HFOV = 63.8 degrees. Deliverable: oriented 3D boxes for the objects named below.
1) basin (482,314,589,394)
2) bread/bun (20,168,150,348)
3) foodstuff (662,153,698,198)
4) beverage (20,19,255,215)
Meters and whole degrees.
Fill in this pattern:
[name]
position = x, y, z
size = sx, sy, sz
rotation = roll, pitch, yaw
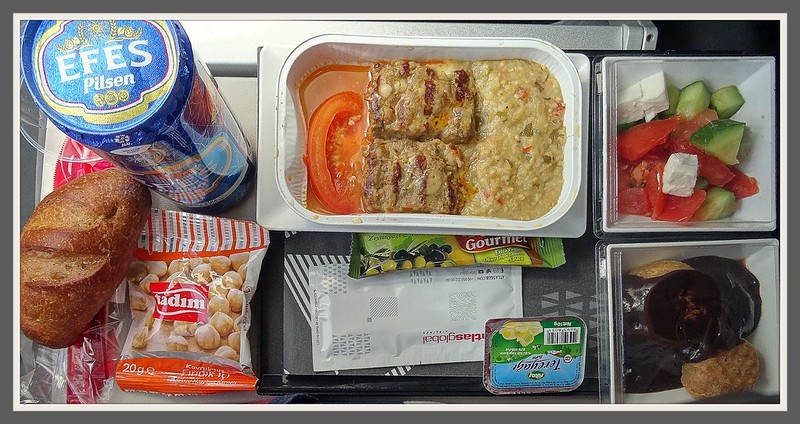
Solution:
[basin]
position = 0.429, 0.474, 2.031
size = 0.315, 0.097, 0.407
rotation = -5, 21, 12
[bread/bun]
position = -0.946, 0.123, 1.991
size = 0.344, 0.189, 0.501
rotation = 27, 90, -5
[foodstuff]
position = 0.867, -0.115, 1.999
size = 0.104, 0.105, 0.114
rotation = 4, 51, 10
[beverage]
position = -0.749, -0.245, 1.958
size = 0.426, 0.717, 0.381
rotation = -21, 71, -9
